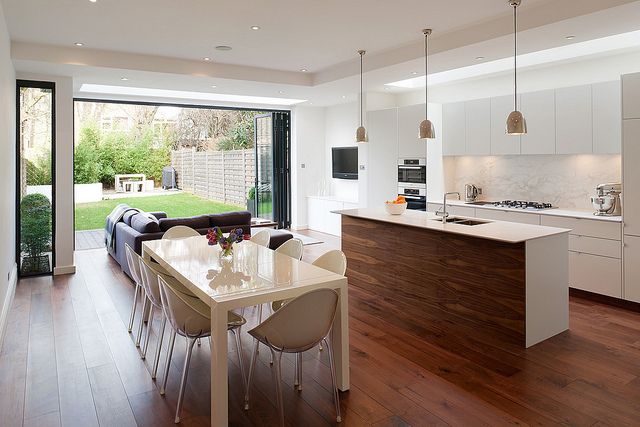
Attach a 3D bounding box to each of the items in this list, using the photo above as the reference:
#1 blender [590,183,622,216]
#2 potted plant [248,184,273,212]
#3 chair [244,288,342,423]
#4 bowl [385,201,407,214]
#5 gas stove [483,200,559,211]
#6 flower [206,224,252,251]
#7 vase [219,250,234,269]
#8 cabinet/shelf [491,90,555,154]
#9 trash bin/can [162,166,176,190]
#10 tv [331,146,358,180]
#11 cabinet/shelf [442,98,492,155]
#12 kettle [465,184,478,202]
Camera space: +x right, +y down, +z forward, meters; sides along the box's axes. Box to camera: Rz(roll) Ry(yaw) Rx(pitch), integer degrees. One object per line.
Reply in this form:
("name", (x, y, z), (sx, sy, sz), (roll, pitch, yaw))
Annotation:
("blender", (4.048, -0.199, 5.565), (0.474, 0.424, 0.332), (-3, 2, -22))
("potted plant", (-1.636, -0.391, 10.582), (0.656, 0.810, 0.877), (0, 1, -16))
("chair", (-0.244, 1.138, 3.358), (0.828, 1.131, 0.658), (-1, 7, -7))
("bowl", (1.061, -0.076, 5.480), (0.263, 0.165, 0.180), (0, 6, 2))
("gas stove", (3.280, -0.158, 6.417), (0.931, 0.099, 0.725), (4, 7, 38))
("flower", (-1.021, 0.255, 4.170), (0.323, 0.171, 0.311), (-3, -5, 18))
("vase", (-0.945, 0.462, 3.997), (0.169, 0.161, 0.171), (-1, -2, 25))
("cabinet/shelf", (3.351, -1.456, 6.330), (0.358, 0.959, 1.060), (-18, 18, -32))
("trash bin/can", (-5.841, -1.365, 15.129), (0.580, 0.854, 0.270), (2, 7, 20))
("tv", (0.604, -1.243, 9.674), (0.188, 0.795, 1.031), (-3, 7, -24))
("cabinet/shelf", (2.734, -1.535, 7.060), (0.362, 0.949, 1.012), (-16, 18, -35))
("kettle", (2.773, -0.376, 7.128), (0.217, 0.301, 0.407), (3, 7, 25))
